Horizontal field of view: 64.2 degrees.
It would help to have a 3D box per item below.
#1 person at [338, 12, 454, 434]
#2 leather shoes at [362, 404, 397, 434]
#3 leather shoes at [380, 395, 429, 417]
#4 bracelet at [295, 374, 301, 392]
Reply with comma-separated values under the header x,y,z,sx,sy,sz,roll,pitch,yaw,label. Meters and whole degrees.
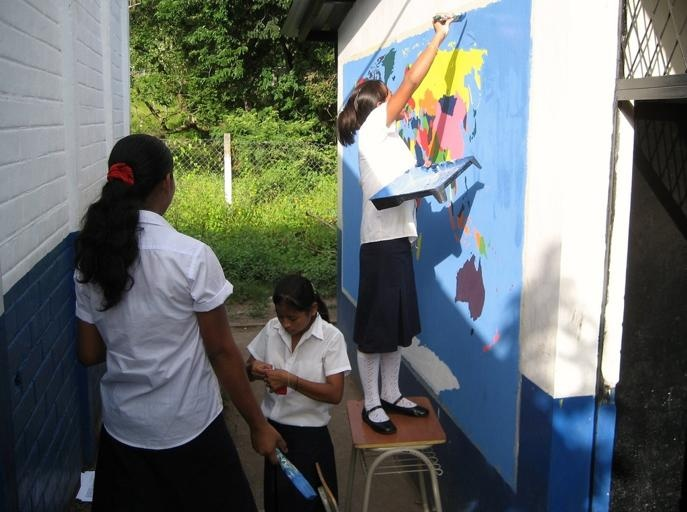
x,y,z,sx,sy,sz,roll,pitch,yaw,label
0.299,-0.165,3.079,0.512,2.217,0.869,-1,9,1,person
0.180,0.851,2.908,0.073,0.112,0.240,-2,1,-22,leather shoes
0.332,0.796,3.035,0.255,0.133,0.104,1,2,18,leather shoes
-0.208,0.580,2.485,0.014,0.051,0.033,-2,-2,12,bracelet
